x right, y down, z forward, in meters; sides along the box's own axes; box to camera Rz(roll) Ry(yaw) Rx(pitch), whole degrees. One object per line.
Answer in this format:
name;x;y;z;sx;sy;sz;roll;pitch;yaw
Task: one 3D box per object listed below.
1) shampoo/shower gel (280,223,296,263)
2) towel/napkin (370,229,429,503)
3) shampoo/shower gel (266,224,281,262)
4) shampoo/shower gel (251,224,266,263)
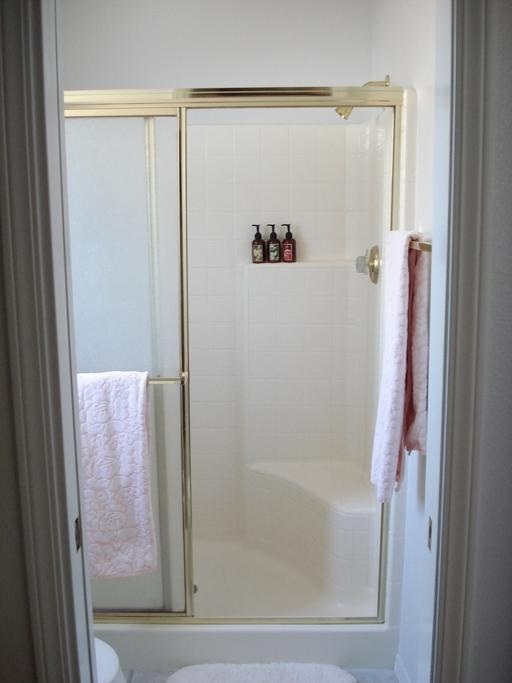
shampoo/shower gel;0.094;-0.288;1.855;0.046;0.115;0.048;-1;10;3
towel/napkin;0.320;0.065;1.436;0.108;0.619;0.255;-3;10;-11
shampoo/shower gel;0.049;-0.288;1.859;0.042;0.116;0.047;-1;9;1
shampoo/shower gel;0.006;-0.287;1.868;0.042;0.114;0.042;-2;9;-1
